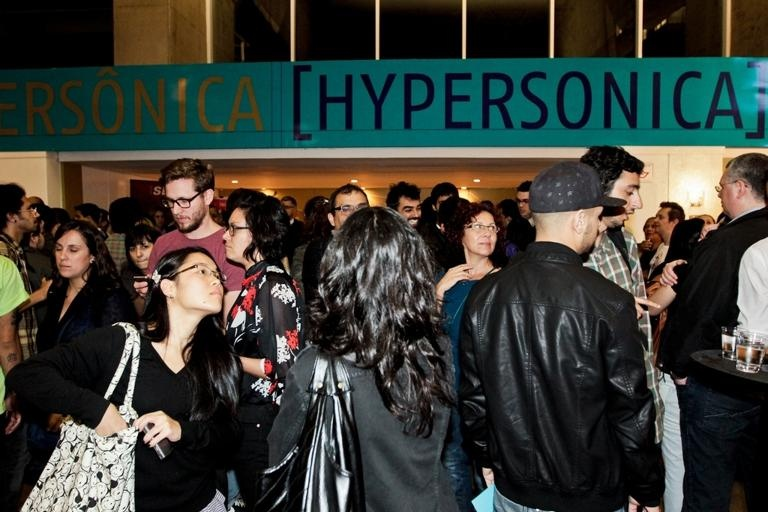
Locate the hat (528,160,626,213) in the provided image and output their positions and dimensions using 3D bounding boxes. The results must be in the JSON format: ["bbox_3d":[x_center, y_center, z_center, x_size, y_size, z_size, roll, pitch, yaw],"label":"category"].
[{"bbox_3d":[1.111,-0.387,3.581,0.421,0.212,0.290,-9,8,3],"label":"hat"}]

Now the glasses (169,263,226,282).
[{"bbox_3d":[-1.130,0.098,3.663,0.166,0.048,0.162,-18,-5,-2],"label":"glasses"}]

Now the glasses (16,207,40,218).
[{"bbox_3d":[-3.161,-0.388,5.335,0.238,0.069,0.236,0,-1,26],"label":"glasses"}]
